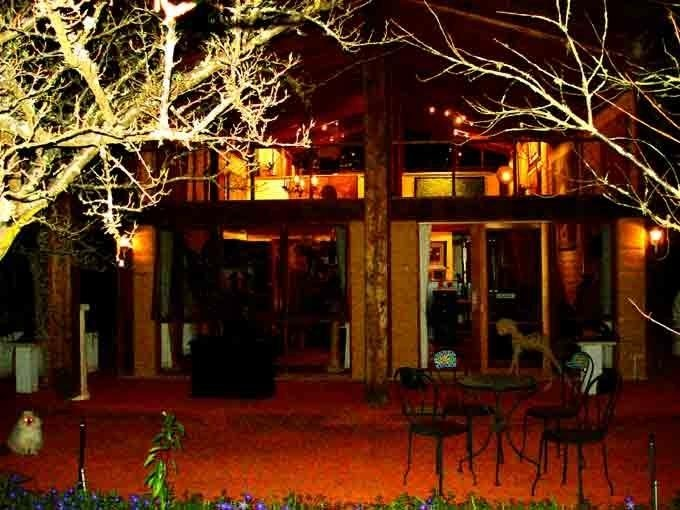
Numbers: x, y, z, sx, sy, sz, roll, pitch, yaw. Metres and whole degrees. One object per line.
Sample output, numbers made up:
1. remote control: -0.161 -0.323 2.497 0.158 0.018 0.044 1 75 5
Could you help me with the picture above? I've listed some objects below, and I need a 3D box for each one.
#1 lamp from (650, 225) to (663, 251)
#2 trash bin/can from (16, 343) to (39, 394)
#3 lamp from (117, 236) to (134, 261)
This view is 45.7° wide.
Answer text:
1. lamp: 6.457 -0.326 16.615 0.410 0.473 0.417 1 8 15
2. trash bin/can: -6.046 2.201 15.672 0.486 0.965 0.424 4 -9 -26
3. lamp: -4.340 -0.137 16.322 0.491 0.499 0.240 4 2 -7
